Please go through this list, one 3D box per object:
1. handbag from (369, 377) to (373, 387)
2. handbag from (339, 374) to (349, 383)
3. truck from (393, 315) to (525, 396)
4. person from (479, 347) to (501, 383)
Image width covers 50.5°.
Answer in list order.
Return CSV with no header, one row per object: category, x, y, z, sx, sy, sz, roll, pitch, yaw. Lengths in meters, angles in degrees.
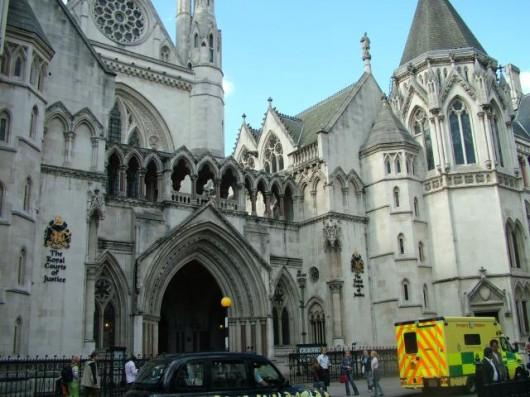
handbag,4.679,8.064,24.619,0.164,0.389,0.686,-5,-19,9
handbag,3.514,8.001,24.909,0.313,0.365,0.607,-4,-19,6
truck,8.731,7.030,25.211,5.285,2.941,3.129,5,-20,-22
person,7.802,5.823,19.524,0.479,1.204,0.838,-15,-22,34
